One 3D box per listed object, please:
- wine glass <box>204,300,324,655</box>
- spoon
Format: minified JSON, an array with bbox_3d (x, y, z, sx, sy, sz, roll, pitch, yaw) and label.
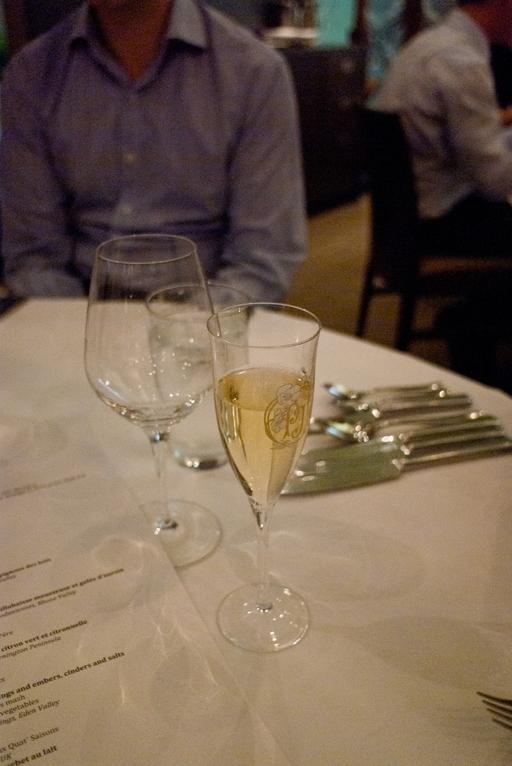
[{"bbox_3d":[0.004,0.058,0.405,0.067,0.180,0.122,0,26,-4],"label":"wine glass"},{"bbox_3d":[0.126,0.023,0.622,0.123,0.017,0.062,-10,29,-11],"label":"spoon"}]
